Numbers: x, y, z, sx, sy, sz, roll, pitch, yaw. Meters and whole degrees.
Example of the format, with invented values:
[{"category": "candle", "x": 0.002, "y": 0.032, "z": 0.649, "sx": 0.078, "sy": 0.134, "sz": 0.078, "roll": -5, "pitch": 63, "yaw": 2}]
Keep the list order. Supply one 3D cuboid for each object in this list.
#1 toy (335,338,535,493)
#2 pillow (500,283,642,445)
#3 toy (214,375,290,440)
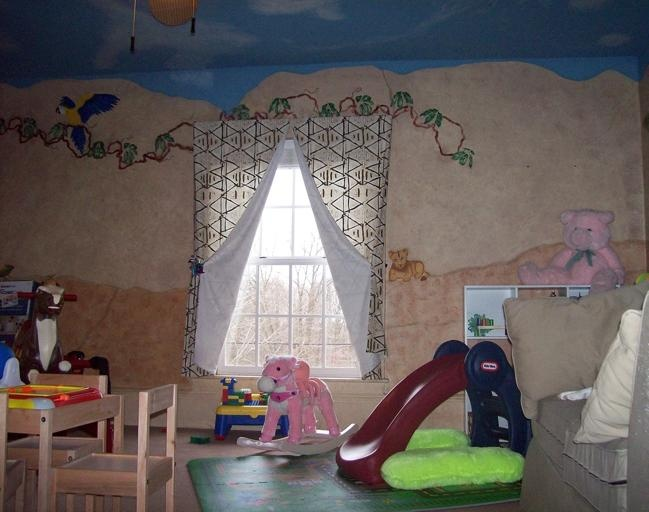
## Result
[{"category": "toy", "x": 0.689, "y": 0.954, "z": 4.278, "sx": 0.989, "sy": 0.708, "sz": 1.008, "roll": -2, "pitch": -5, "yaw": -9}, {"category": "pillow", "x": 1.363, "y": 0.579, "z": 3.466, "sx": 0.778, "sy": 0.783, "sz": 0.235, "roll": -4, "pitch": -7, "yaw": 19}, {"category": "toy", "x": -0.673, "y": 1.240, "z": 5.241, "sx": 0.505, "sy": 0.411, "sz": 0.519, "roll": 2, "pitch": -3, "yaw": -4}]
